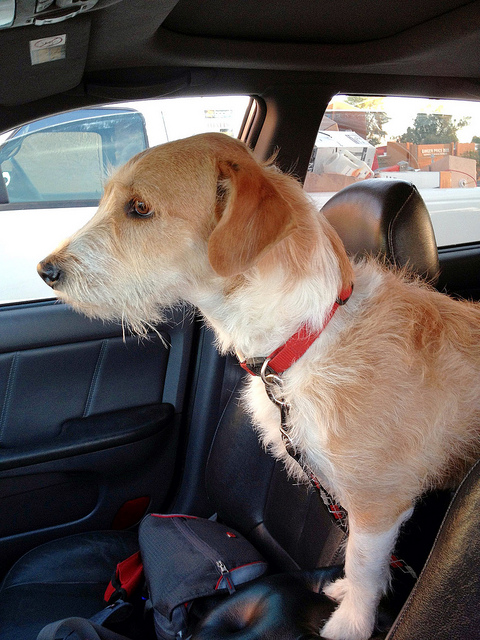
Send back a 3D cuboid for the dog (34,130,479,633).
[{"bbox_3d":[0.094,0.102,1.421,1.128,1.165,0.516,18,19,28],"label":"dog"}]
